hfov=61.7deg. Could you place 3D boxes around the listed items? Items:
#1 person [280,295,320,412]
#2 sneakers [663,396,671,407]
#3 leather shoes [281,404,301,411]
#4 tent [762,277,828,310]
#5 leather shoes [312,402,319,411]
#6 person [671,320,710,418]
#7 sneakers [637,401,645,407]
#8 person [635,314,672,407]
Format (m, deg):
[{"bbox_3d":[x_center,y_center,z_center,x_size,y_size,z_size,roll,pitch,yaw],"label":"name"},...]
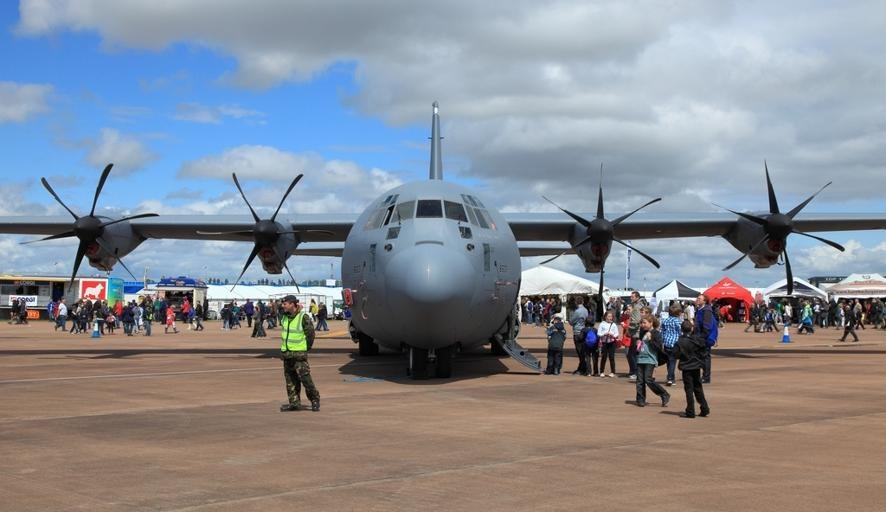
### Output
[{"bbox_3d":[-3.100,2.051,16.034,0.802,2.457,0.665,2,-7,-13],"label":"person"},{"bbox_3d":[4.980,3.179,16.512,0.167,0.118,0.373,39,23,7],"label":"sneakers"},{"bbox_3d":[-3.238,3.194,15.743,0.338,0.113,0.179,4,-3,-9],"label":"leather shoes"},{"bbox_3d":[25.056,2.813,52.770,4.392,1.632,4.068,-3,-12,22],"label":"tent"},{"bbox_3d":[-2.709,3.151,15.744,0.169,0.227,0.233,2,-6,-10],"label":"leather shoes"},{"bbox_3d":[5.318,2.363,15.817,0.622,2.013,1.290,-2,-7,19],"label":"person"},{"bbox_3d":[4.410,3.253,16.492,0.215,0.109,0.307,-1,-6,18],"label":"sneakers"},{"bbox_3d":[4.717,2.333,16.773,0.736,1.993,0.951,-1,-7,15],"label":"person"}]
